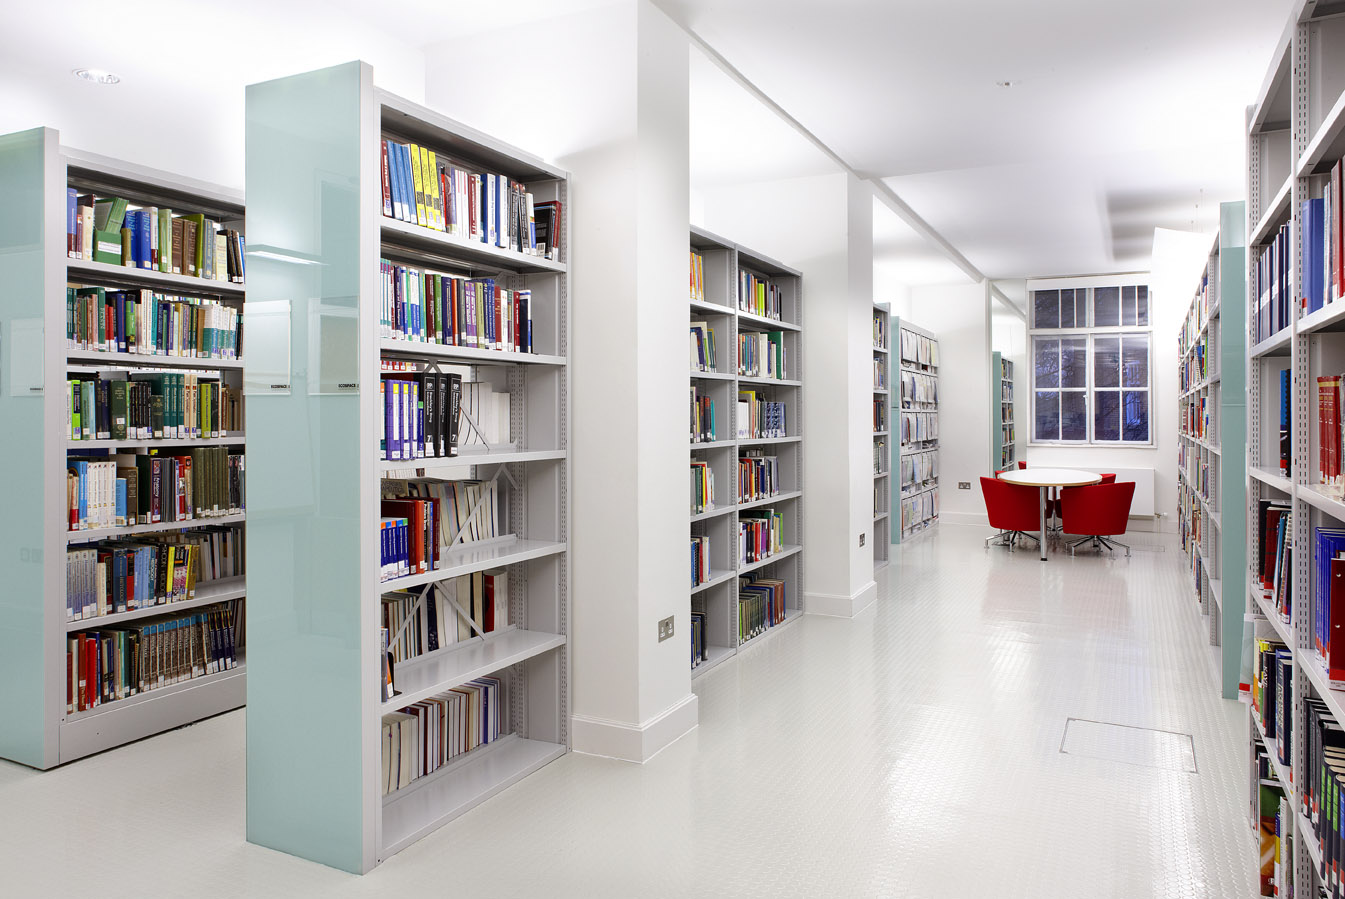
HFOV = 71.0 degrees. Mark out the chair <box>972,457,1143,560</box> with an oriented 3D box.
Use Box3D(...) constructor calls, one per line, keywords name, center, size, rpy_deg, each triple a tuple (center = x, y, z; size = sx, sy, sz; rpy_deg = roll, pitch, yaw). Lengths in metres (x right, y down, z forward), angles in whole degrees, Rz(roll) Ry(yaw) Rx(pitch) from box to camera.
Box3D(name="chair", center=(4.425, 0.616, 10.711), size=(1.234, 0.680, 1.290), rpy_deg=(2, 6, 31))
